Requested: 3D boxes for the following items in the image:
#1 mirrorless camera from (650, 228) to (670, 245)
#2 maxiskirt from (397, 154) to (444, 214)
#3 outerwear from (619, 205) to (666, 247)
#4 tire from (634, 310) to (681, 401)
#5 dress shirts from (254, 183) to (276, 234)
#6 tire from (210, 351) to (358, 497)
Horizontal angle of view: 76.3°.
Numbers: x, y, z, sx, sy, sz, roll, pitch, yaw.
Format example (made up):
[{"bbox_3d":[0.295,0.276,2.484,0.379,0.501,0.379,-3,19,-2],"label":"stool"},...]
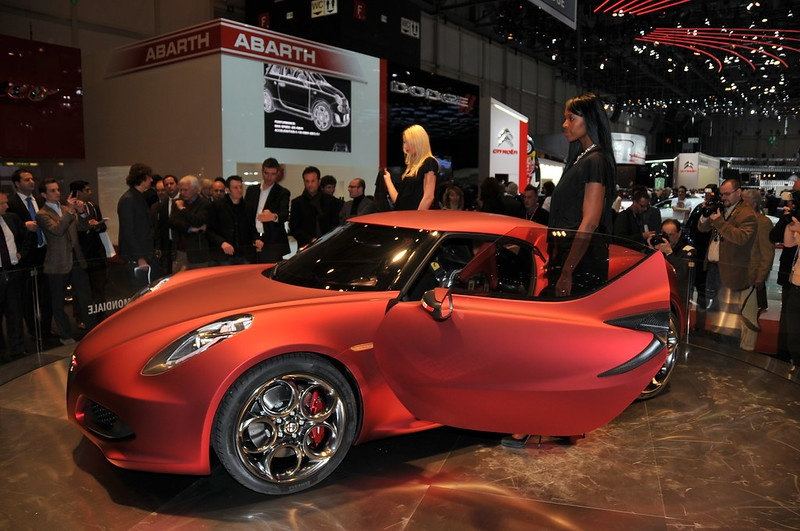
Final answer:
[{"bbox_3d":[3.456,-0.393,6.770,0.264,0.193,0.298,1,3,36],"label":"mirrorless camera"},{"bbox_3d":[0.180,-0.937,5.785,0.488,0.611,0.309,1,13,0],"label":"maxiskirt"},{"bbox_3d":[3.293,-0.551,6.959,0.677,0.735,0.203,6,-7,-16],"label":"outerwear"},{"bbox_3d":[2.514,0.949,4.852,0.884,0.948,0.262,-8,10,-44],"label":"tire"},{"bbox_3d":[-2.119,-0.878,7.966,0.423,0.627,0.212,7,1,-27],"label":"dress shirts"},{"bbox_3d":[-0.804,1.058,3.491,0.698,0.709,0.254,41,-6,-2],"label":"tire"}]
